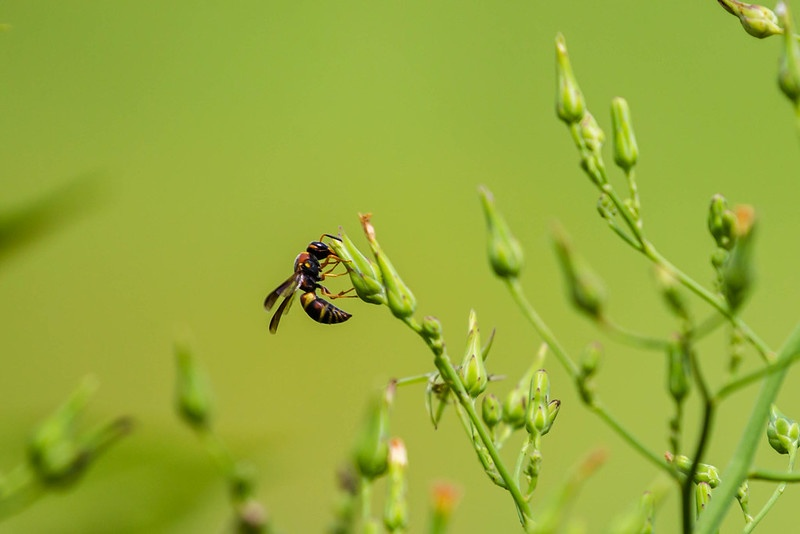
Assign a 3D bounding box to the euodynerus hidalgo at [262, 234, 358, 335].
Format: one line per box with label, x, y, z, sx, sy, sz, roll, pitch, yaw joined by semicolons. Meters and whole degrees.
euodynerus hidalgo;-0.101;0.021;1.005;0.135;0.072;0.092;-36;-11;-5
